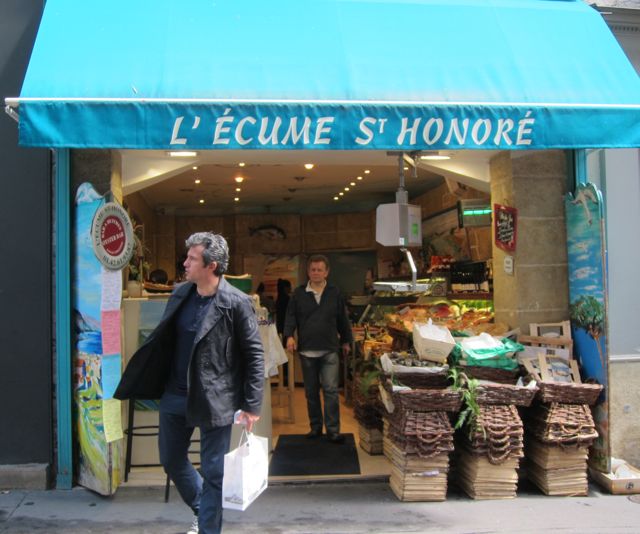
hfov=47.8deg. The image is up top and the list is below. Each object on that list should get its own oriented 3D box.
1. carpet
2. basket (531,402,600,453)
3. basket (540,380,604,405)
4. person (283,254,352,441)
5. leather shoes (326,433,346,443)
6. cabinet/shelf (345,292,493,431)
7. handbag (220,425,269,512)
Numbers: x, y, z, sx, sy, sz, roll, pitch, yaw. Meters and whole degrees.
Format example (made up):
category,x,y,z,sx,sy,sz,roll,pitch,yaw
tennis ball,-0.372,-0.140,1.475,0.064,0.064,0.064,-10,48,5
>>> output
category,x,y,z,sx,sy,sz,roll,pitch,yaw
carpet,-0.056,1.888,7.325,0.884,0.095,1.259,0,6,-1
basket,2.136,1.393,6.368,0.470,0.203,0.390,-1,2,-11
basket,2.177,1.098,6.332,0.321,0.118,0.288,1,-3,-2
person,-0.056,0.865,7.963,0.704,1.976,0.504,2,6,19
leather shoes,0.166,1.826,7.779,0.201,0.090,0.075,-13,-15,39
cabinet/shelf,1.040,0.852,8.328,1.279,1.622,2.321,2,2,-2
handbag,-0.561,1.425,5.230,0.272,0.503,0.420,1,6,12
